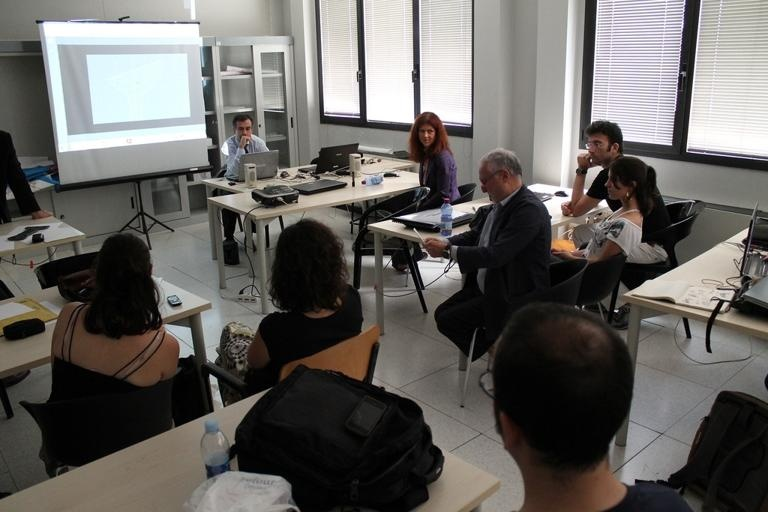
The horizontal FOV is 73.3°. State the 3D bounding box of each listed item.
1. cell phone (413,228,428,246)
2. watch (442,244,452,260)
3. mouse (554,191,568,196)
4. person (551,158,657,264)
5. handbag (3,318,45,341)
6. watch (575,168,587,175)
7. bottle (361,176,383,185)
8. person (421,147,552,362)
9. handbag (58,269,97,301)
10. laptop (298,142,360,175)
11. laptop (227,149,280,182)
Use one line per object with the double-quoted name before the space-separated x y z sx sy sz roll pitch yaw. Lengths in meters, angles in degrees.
"cell phone" 0.289 -0.156 4.120 0.079 0.128 0.071 -32 -10 -2
"watch" 0.465 -0.036 3.766 0.070 0.091 0.103 -2 -13 15
"mouse" 1.783 -0.628 5.183 0.102 0.038 0.056 4 14 26
"person" 1.719 -0.289 3.913 0.973 0.917 0.500 -21 30 -39
"handbag" -2.013 0.396 2.886 0.142 0.054 0.124 -16 23 -40
"watch" 1.841 -0.775 4.813 0.070 0.074 0.071 5 -5 -4
"bottle" -0.116 -0.824 5.689 0.172 0.072 0.135 -7 11 -39
"person" 0.712 0.076 3.625 0.695 1.559 0.792 -18 28 -33
"handbag" -1.855 0.181 3.132 0.221 0.095 0.167 12 18 31
"laptop" -0.674 -1.166 6.087 0.510 0.310 0.488 -15 26 -32
"laptop" -1.504 -1.087 5.916 0.555 0.393 0.462 -13 26 -38
